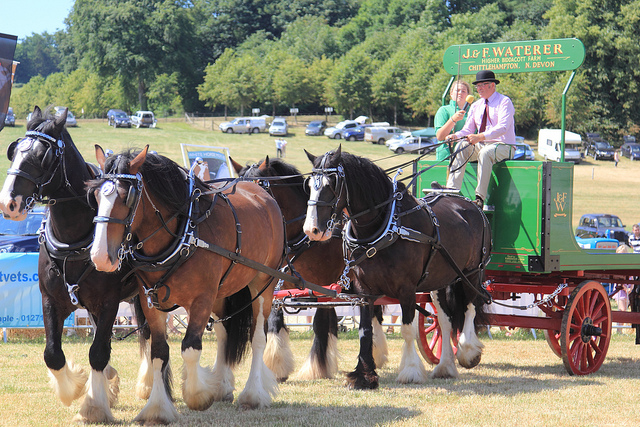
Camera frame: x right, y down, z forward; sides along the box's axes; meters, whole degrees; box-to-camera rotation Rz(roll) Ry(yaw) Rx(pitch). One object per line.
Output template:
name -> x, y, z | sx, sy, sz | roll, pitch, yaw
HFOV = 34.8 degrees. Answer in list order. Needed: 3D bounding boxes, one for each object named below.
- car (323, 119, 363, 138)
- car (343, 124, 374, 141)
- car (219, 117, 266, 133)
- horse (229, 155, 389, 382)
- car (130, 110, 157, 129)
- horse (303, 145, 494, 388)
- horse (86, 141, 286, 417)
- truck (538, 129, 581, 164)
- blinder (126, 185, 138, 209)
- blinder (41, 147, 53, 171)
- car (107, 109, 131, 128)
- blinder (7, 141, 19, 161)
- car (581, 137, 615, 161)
car -> 1.428, -5.619, 66.940 | 2.126, 1.020, 1.167 | -4, 8, -23
car -> 2.301, -5.165, 65.430 | 1.711, 0.816, 0.992 | -1, 6, -15
car -> -5.212, -5.953, 68.441 | 2.567, 0.981, 1.242 | 0, 4, -16
horse -> -2.151, 1.702, 21.624 | 1.816, 4.745, 6.998 | -3, -5, 39
car -> -12.207, -6.434, 69.905 | 1.065, 0.904, 1.853 | -5, 15, -26
horse -> 1.646, 1.074, 21.020 | 4.235, 4.803, 1.121 | -1, 3, -35
horse -> -2.518, 1.276, 19.567 | 3.713, 5.011, 1.297 | 0, 3, -21
truck -> 10.711, -3.002, 45.509 | 1.141, 1.399, 2.811 | 1, 8, -12
blinder -> -3.464, -0.316, 18.660 | 0.227, 0.400, 0.061 | -2, 4, -42
blinder -> -5.115, -1.029, 19.057 | 0.132, 0.357, 0.272 | 25, -5, 19
car -> -13.543, -6.458, 68.174 | 0.947, 0.817, 2.073 | -3, 4, -24
blinder -> -5.883, -1.209, 19.312 | 0.134, 0.354, 0.262 | 13, -5, 16
car -> 15.885, -3.733, 58.382 | 0.956, 0.972, 2.480 | -2, 7, -10
